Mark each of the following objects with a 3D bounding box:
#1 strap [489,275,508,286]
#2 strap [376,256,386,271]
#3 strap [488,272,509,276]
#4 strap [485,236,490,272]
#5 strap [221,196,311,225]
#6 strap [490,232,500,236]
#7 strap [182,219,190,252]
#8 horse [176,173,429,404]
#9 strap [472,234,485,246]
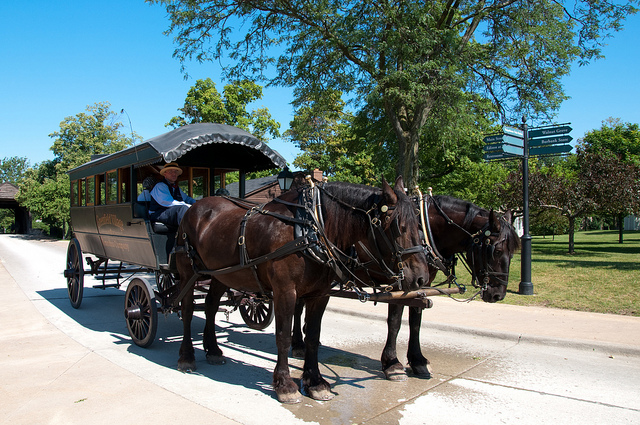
[{"bbox_3d":[3.307,1.253,9.428,0.191,0.048,0.197,23,0,-28],"label":"strap"},{"bbox_3d":[1.052,0.884,8.740,0.042,0.329,0.054,-8,-35,-25],"label":"strap"},{"bbox_3d":[3.277,1.135,9.435,0.345,0.060,0.053,1,10,5],"label":"strap"},{"bbox_3d":[3.086,0.780,9.449,0.081,0.554,0.080,1,-4,39],"label":"strap"},{"bbox_3d":[-0.983,-0.014,9.616,1.494,0.152,0.225,14,-29,25],"label":"strap"},{"bbox_3d":[3.250,0.404,9.503,0.136,0.047,0.046,7,12,34],"label":"strap"},{"bbox_3d":[-2.706,0.535,10.378,0.087,0.485,0.096,-10,-14,5],"label":"strap"},{"bbox_3d":[-0.810,1.400,9.950,5.760,4.091,1.714,0,-2,37],"label":"horse"},{"bbox_3d":[2.959,0.517,9.565,0.199,0.202,0.041,1,10,4],"label":"strap"}]
